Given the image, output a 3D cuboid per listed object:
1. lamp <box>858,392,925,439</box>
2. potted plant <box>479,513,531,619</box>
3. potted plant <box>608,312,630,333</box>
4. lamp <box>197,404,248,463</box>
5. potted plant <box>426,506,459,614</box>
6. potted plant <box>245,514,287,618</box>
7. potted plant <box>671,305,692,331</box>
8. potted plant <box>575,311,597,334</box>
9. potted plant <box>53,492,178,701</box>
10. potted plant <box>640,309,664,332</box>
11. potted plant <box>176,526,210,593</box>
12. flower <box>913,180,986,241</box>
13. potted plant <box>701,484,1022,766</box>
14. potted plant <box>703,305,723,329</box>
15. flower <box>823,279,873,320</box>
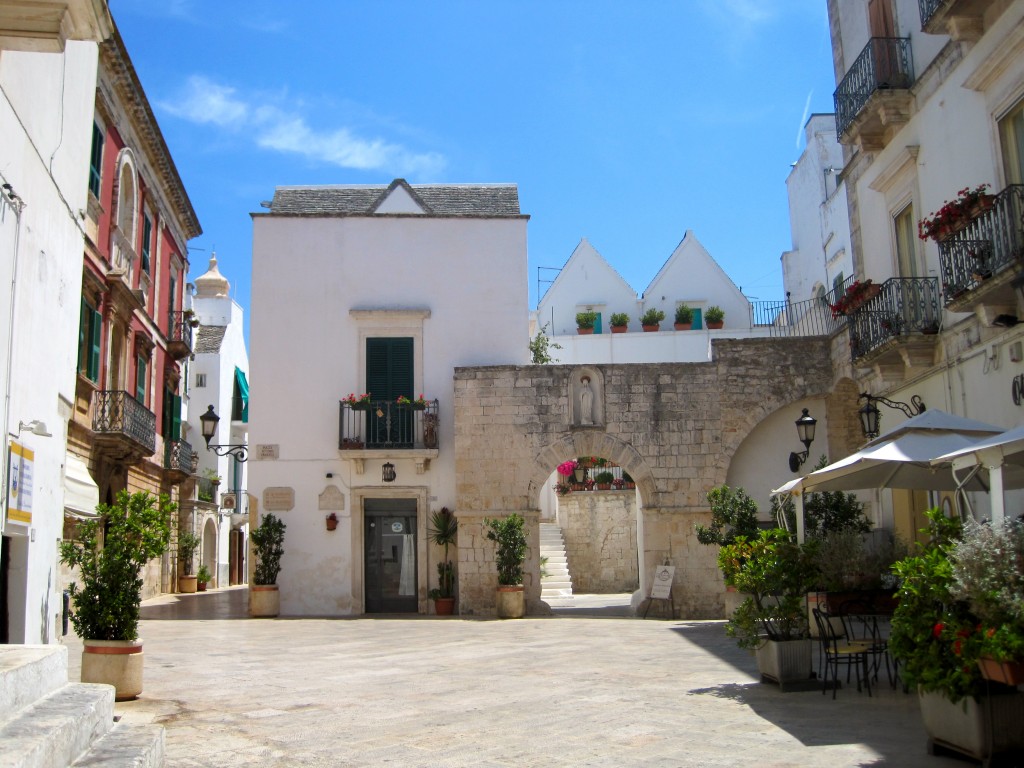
[{"bbox_3d":[5.717,0.437,15.903,1.013,0.711,0.265,-5,-2,-8],"label":"lamp"},{"bbox_3d":[-0.074,3.513,20.438,0.717,1.972,1.001,-1,-14,-4],"label":"potted plant"},{"bbox_3d":[3.569,-2.011,34.743,0.538,0.643,0.538,1,-10,-7],"label":"potted plant"},{"bbox_3d":[-5.823,1.008,21.451,1.232,1.140,0.361,4,-1,-39],"label":"lamp"},{"bbox_3d":[-1.383,3.558,21.370,0.514,2.132,0.427,0,-13,-8],"label":"potted plant"},{"bbox_3d":[-4.904,3.629,21.169,0.697,2.079,0.658,2,-14,-14],"label":"potted plant"},{"bbox_3d":[5.642,-2.191,34.978,0.634,0.895,0.644,1,-7,-3],"label":"potted plant"},{"bbox_3d":[2.525,-2.038,35.254,0.601,0.771,0.641,-6,-10,28],"label":"potted plant"},{"bbox_3d":[-4.457,2.339,11.869,1.189,2.330,0.756,-1,-13,-5],"label":"potted plant"},{"bbox_3d":[4.651,-2.113,34.875,0.614,0.744,0.643,-8,-12,34],"label":"potted plant"},{"bbox_3d":[-9.575,5.240,31.482,0.749,1.961,2.031,1,-15,-12],"label":"potted plant"},{"bbox_3d":[5.935,-2.265,13.897,0.964,0.321,1.088,-27,11,38],"label":"flower"},{"bbox_3d":[3.717,2.320,10.526,2.395,1.568,3.000,5,-24,-19],"label":"potted plant"},{"bbox_3d":[6.661,-2.154,34.974,0.689,0.828,0.604,1,-7,-14],"label":"potted plant"},{"bbox_3d":[5.429,-1.452,16.684,0.588,0.238,0.679,-29,-5,-17],"label":"flower"}]
